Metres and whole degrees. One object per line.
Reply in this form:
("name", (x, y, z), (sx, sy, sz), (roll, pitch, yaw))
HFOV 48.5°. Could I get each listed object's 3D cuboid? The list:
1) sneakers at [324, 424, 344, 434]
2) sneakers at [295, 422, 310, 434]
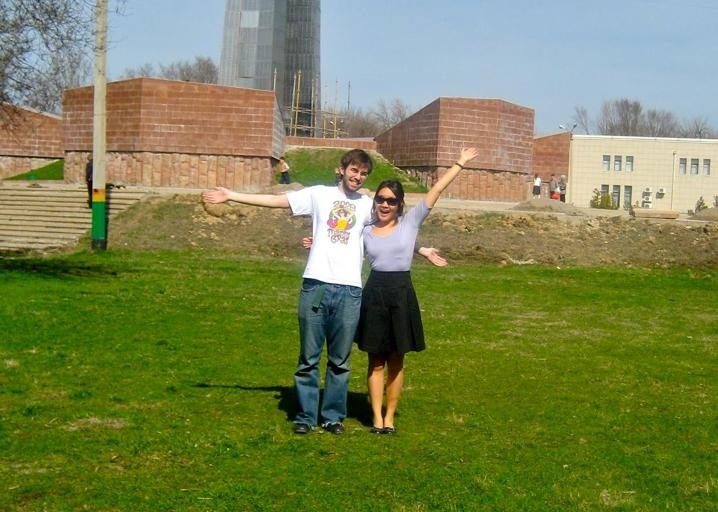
("sneakers", (-0.323, 1.942, 8.968), (0.220, 0.095, 0.090), (1, 31, 8))
("sneakers", (-0.699, 1.926, 8.884), (0.090, 0.071, 0.173), (39, 16, 30))
